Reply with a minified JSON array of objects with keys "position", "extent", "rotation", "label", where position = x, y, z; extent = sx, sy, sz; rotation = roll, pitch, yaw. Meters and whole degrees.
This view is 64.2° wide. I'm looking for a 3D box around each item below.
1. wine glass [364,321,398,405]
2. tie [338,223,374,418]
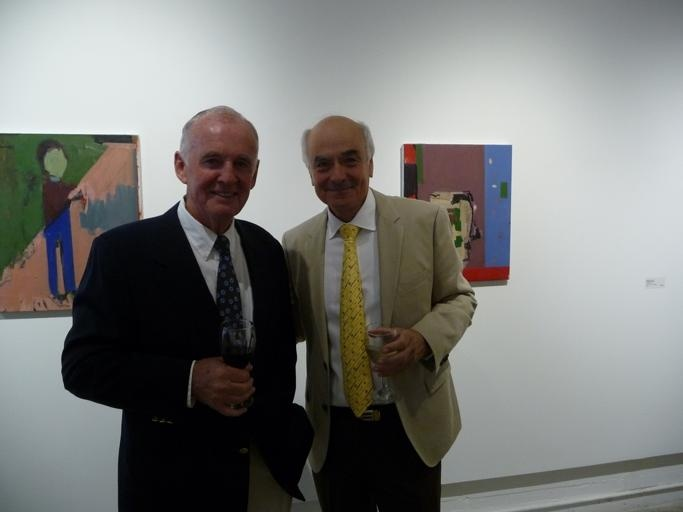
[{"position":[0.199,0.583,2.890],"extent":[0.145,0.430,0.239],"rotation":[1,4,17],"label":"wine glass"},{"position":[0.067,0.342,3.005],"extent":[0.162,1.031,0.277],"rotation":[-1,4,-15],"label":"tie"}]
